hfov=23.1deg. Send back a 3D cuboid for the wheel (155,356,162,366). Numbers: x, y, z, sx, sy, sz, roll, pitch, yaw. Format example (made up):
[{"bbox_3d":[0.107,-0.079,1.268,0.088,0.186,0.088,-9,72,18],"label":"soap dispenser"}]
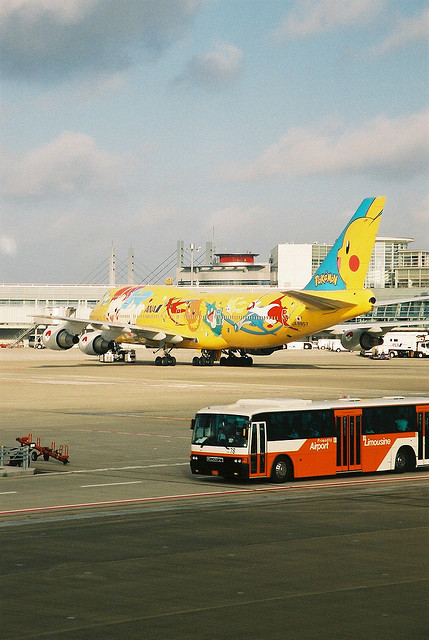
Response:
[{"bbox_3d":[-4.592,3.329,84.383,0.254,0.656,0.680,2,-1,-21],"label":"wheel"}]

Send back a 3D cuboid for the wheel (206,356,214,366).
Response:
[{"bbox_3d":[-0.425,3.179,81.695,0.746,0.679,0.642,-1,5,7],"label":"wheel"}]

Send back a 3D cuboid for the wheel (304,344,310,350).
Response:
[{"bbox_3d":[12.474,3.700,144.803,0.794,0.678,0.179,0,-6,-5],"label":"wheel"}]

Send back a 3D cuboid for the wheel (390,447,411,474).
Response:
[{"bbox_3d":[4.396,3.369,25.273,0.652,0.603,0.223,-10,13,-37],"label":"wheel"}]

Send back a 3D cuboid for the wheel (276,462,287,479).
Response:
[{"bbox_3d":[1.430,3.327,23.300,0.126,0.377,0.406,-2,-5,41],"label":"wheel"}]

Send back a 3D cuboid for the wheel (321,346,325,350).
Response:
[{"bbox_3d":[14.306,3.711,141.070,0.470,0.434,0.103,-1,-4,5],"label":"wheel"}]

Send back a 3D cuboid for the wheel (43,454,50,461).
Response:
[{"bbox_3d":[-4.334,3.546,27.040,0.196,0.183,0.045,7,4,19],"label":"wheel"}]

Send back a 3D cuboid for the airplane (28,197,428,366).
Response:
[{"bbox_3d":[0.959,-1.835,75.130,26.330,10.656,9.465,-3,-1,40],"label":"airplane"}]

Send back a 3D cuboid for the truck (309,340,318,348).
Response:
[{"bbox_3d":[14.329,3.379,153.525,1.546,0.965,1.457,-1,24,3],"label":"truck"}]
